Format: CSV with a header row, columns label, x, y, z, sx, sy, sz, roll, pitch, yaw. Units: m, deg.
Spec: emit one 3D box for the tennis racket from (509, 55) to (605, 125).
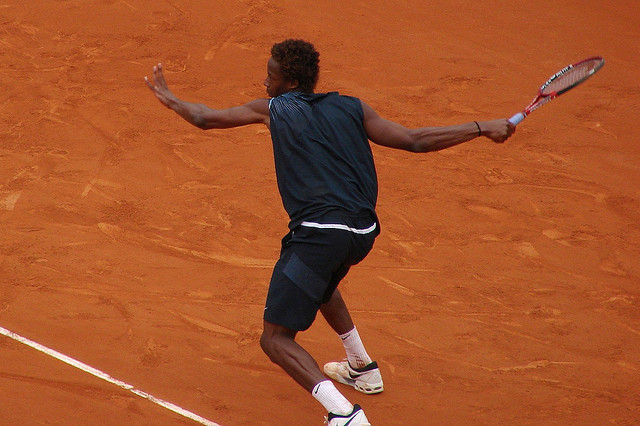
label,x,y,z,sx,sy,sz,roll,pitch,yaw
tennis racket,2.537,-1.311,8.143,1.155,0.549,0.384,-28,52,-34
